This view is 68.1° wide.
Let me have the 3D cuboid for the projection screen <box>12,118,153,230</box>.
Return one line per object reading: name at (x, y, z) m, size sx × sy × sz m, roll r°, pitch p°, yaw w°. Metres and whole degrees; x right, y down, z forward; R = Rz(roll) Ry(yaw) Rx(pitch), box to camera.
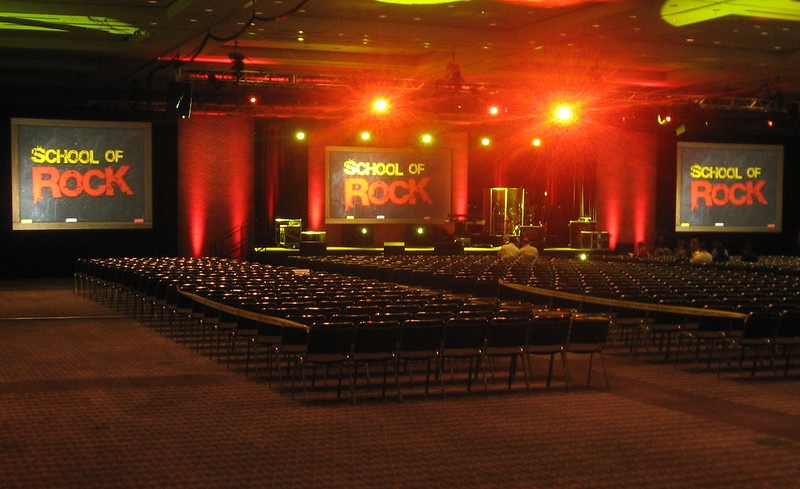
projection screen at (-12.913, -2.890, 23.484) m, size 5.283 × 3.755 × 0.220 m, roll 0°, pitch 0°, yaw -20°
